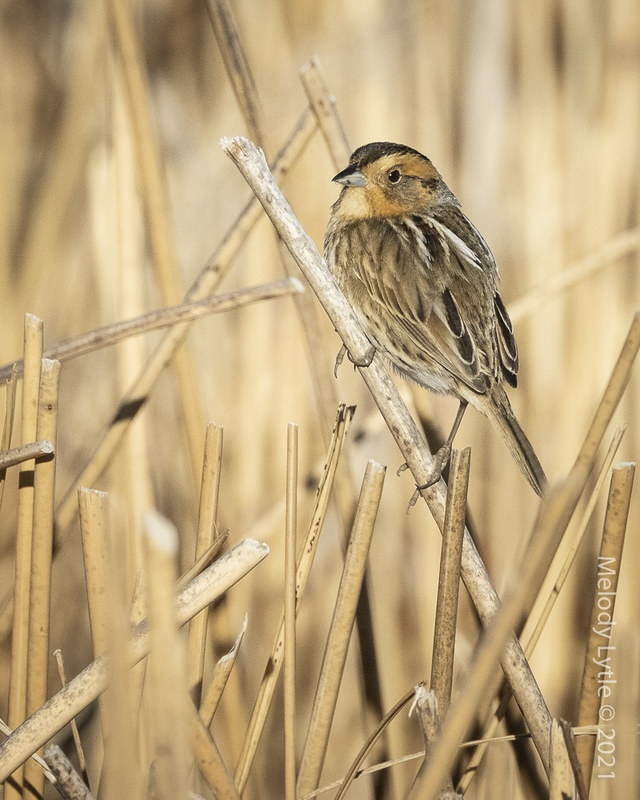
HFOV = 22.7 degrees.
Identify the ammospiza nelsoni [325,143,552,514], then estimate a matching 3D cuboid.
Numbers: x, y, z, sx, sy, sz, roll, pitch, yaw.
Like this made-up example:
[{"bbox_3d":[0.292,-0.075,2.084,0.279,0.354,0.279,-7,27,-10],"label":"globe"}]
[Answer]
[{"bbox_3d":[0.356,-0.232,4.553,0.775,0.388,0.943,16,-76,26],"label":"ammospiza nelsoni"}]
